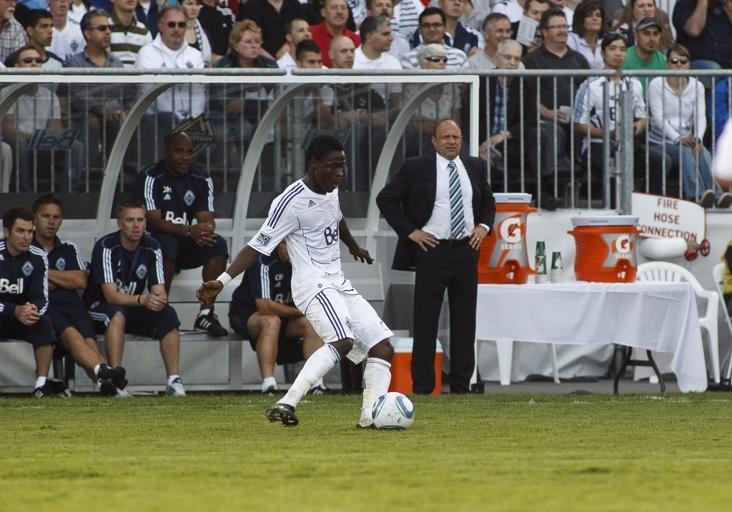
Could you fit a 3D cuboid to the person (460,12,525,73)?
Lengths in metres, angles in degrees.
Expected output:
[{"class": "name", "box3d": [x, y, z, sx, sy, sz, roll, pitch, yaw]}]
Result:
[{"class": "person", "box3d": [1.405, -2.320, 18.396, 0.794, 0.672, 0.390, -1, 7, -20]}]

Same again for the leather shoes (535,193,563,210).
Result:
[{"class": "leather shoes", "box3d": [1.819, -0.547, 16.674, 0.222, 0.201, 0.135, -3, 7, 7]}]

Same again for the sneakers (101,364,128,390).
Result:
[{"class": "sneakers", "box3d": [-2.290, 1.068, 15.194, 0.135, 0.117, 0.317, 17, -31, 48]}]

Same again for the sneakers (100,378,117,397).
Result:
[{"class": "sneakers", "box3d": [-2.344, 1.193, 15.206, 0.162, 0.139, 0.143, -4, 0, 30]}]

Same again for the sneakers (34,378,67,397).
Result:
[{"class": "sneakers", "box3d": [-2.903, 1.213, 15.521, 0.334, 0.134, 0.140, 0, -6, 5]}]

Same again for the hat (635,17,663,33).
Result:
[{"class": "hat", "box3d": [3.071, -2.520, 18.206, 0.300, 0.189, 0.326, 1, -2, 9]}]

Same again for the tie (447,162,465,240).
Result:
[{"class": "tie", "box3d": [0.828, -0.511, 15.268, 0.162, 0.698, 0.079, 1, -1, -2]}]

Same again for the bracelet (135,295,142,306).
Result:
[{"class": "bracelet", "box3d": [-2.106, 0.402, 15.583, 0.059, 0.073, 0.028, -1, -5, -31]}]

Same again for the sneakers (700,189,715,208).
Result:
[{"class": "sneakers", "box3d": [3.469, -0.573, 17.044, 0.094, 0.240, 0.097, 5, 29, -15]}]

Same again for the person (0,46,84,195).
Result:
[{"class": "person", "box3d": [-3.147, -1.128, 16.312, 0.808, 0.997, 0.309, 1, -1, -10]}]

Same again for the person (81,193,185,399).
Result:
[{"class": "person", "box3d": [-2.166, 0.366, 15.671, 0.890, 1.805, 0.630, 1, -1, -11]}]

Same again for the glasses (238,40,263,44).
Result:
[{"class": "glasses", "box3d": [-1.214, -2.264, 17.745, 0.103, 0.030, 0.104, 1, -5, -35]}]

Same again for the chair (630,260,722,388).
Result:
[{"class": "chair", "box3d": [3.253, 0.541, 16.574, 0.974, 1.446, 1.145, 1, -6, -13]}]

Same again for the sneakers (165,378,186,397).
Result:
[{"class": "sneakers", "box3d": [-1.749, 1.198, 15.486, 0.179, 0.163, 0.278, 1, -2, -6]}]

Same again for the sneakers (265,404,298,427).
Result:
[{"class": "sneakers", "box3d": [-0.658, 1.256, 13.300, 0.241, 0.143, 0.114, 9, 38, 36]}]

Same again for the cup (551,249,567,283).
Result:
[{"class": "cup", "box3d": [1.827, 0.097, 16.037, 0.110, 0.299, 0.246, 1, -1, 6]}]

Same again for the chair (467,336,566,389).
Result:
[{"class": "chair", "box3d": [1.570, 1.012, 16.361, 0.620, 0.432, 0.601, 1, -4, -16]}]

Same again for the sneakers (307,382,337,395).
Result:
[{"class": "sneakers", "box3d": [-0.398, 1.226, 15.604, 0.088, 0.103, 0.242, -7, -16, 31]}]
